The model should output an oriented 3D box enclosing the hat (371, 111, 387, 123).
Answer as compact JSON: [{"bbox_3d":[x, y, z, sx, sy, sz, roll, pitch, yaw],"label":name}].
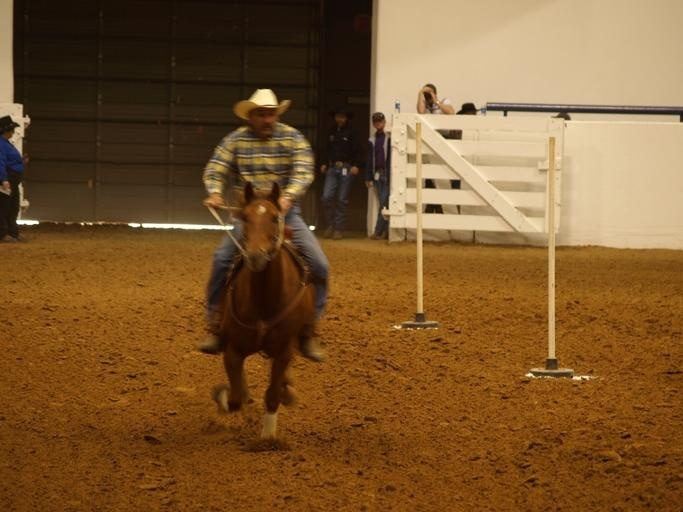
[{"bbox_3d":[0.790,-2.907,17.850,0.198,0.141,0.278,-3,-19,9],"label":"hat"}]

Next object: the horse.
[{"bbox_3d":[-0.710,0.536,7.403,0.672,2.405,0.983,8,16,25],"label":"horse"}]

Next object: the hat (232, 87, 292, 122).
[{"bbox_3d":[-0.760,-1.435,8.080,0.499,0.342,0.941,-1,15,-6],"label":"hat"}]

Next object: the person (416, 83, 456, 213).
[{"bbox_3d":[1.908,-2.175,17.312,0.708,2.620,1.591,2,15,6],"label":"person"}]

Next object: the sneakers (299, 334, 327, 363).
[{"bbox_3d":[-0.277,0.864,7.843,0.132,0.249,0.361,-23,8,-22],"label":"sneakers"}]
